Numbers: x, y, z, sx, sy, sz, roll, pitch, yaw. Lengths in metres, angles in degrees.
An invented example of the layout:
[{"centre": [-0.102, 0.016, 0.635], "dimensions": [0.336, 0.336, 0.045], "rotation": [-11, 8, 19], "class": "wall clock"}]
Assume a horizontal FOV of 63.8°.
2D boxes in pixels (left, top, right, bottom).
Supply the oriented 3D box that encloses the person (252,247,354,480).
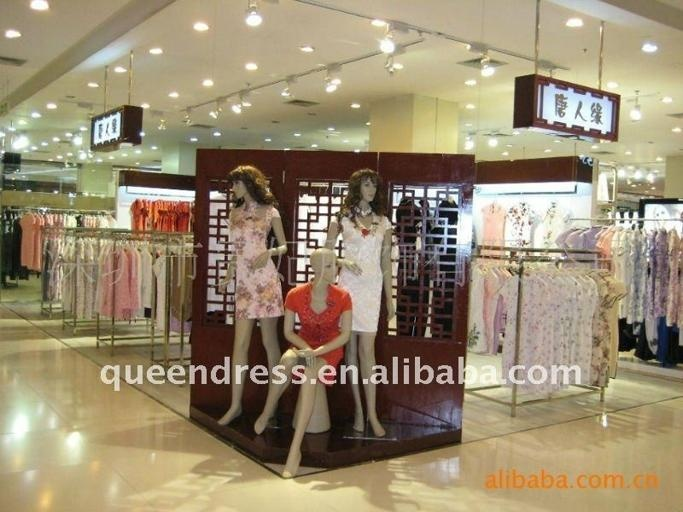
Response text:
[{"centre": [-0.252, 0.731, 4.205], "dimensions": [0.636, 1.594, 0.611], "rotation": [0, 4, -31], "class": "person"}]
